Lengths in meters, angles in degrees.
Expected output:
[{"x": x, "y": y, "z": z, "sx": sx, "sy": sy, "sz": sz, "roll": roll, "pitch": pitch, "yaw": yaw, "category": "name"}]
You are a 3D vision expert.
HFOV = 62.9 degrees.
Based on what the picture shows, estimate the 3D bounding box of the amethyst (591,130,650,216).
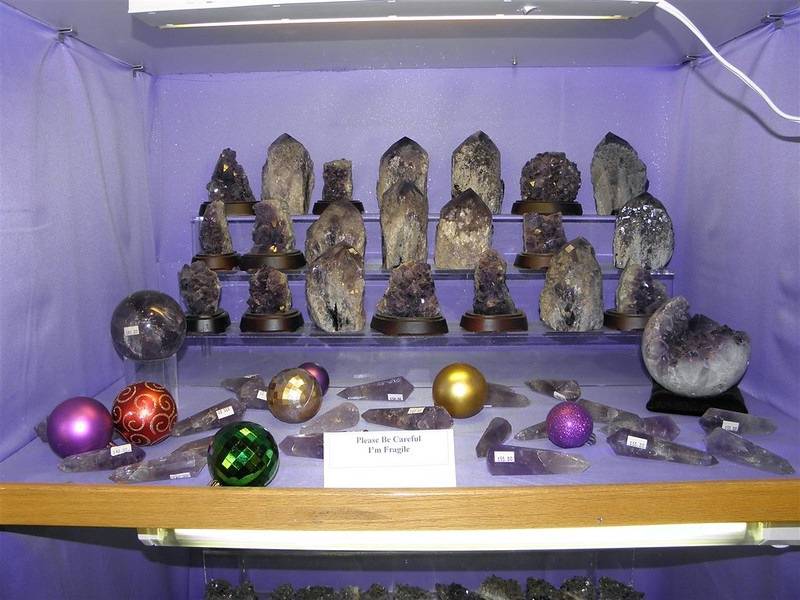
[{"x": 1.053, "y": -0.601, "z": 3.203, "sx": 0.293, "sy": 0.451, "sz": 0.109, "roll": 6, "pitch": -22, "yaw": -6, "category": "amethyst"}]

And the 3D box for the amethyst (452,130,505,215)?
[{"x": 0.369, "y": -0.643, "z": 3.418, "sx": 0.316, "sy": 0.600, "sz": 0.329, "roll": 2, "pitch": 3, "yaw": 2, "category": "amethyst"}]

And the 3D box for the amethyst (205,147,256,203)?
[{"x": -0.834, "y": -0.615, "z": 3.206, "sx": 0.258, "sy": 0.337, "sz": 0.172, "roll": 2, "pitch": 5, "yaw": -4, "category": "amethyst"}]

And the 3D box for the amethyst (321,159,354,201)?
[{"x": -0.314, "y": -0.589, "z": 3.199, "sx": 0.172, "sy": 0.250, "sz": 0.058, "roll": -12, "pitch": 52, "yaw": -23, "category": "amethyst"}]

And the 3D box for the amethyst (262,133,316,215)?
[{"x": -0.552, "y": -0.613, "z": 3.251, "sx": 0.245, "sy": 0.405, "sz": 0.226, "roll": -1, "pitch": 3, "yaw": -7, "category": "amethyst"}]
